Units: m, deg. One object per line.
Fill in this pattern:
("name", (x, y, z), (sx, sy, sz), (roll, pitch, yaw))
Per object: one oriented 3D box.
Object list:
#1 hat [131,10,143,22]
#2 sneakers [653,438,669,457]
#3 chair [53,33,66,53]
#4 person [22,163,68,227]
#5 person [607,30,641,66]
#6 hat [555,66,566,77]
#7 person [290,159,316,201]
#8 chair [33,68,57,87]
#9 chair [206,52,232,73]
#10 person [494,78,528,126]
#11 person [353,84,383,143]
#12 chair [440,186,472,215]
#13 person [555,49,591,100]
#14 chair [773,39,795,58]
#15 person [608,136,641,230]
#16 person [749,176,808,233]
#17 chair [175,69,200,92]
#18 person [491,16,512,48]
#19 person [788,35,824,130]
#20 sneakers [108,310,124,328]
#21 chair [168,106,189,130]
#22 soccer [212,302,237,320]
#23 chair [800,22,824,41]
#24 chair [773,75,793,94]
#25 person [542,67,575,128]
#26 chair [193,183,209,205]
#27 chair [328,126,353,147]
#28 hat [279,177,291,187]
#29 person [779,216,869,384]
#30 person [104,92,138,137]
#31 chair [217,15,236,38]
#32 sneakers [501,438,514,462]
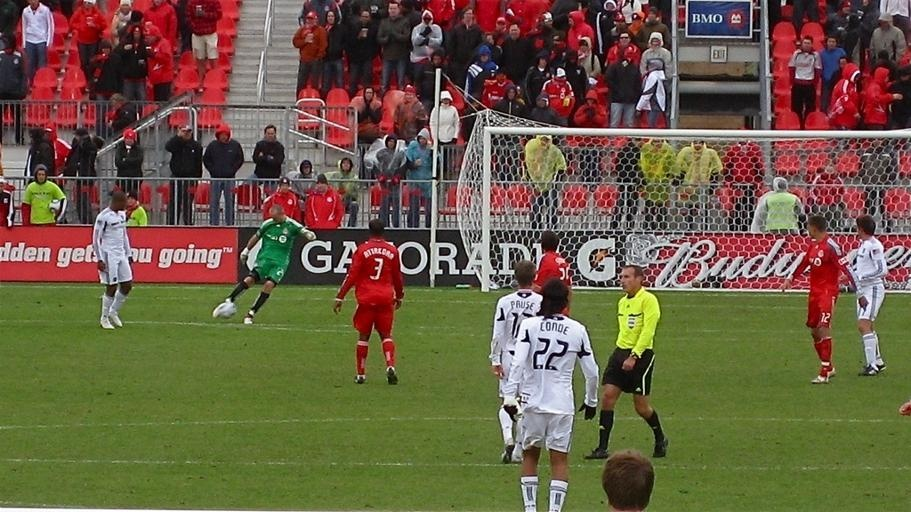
("hat", (-9.936, -7.458, 58.279), (0.319, 0.345, 0.389), (-1, 20, 0))
("sneakers", (4.641, 4.460, 43.737), (0.203, 0.261, 0.544), (-2, 22, 23))
("chair", (-13.105, -7.034, 61.968), (0.525, 0.556, 0.620), (2, 13, -10))
("person", (-12.035, -1.805, 54.881), (1.246, 1.730, 1.140), (-1, 5, -12))
("person", (5.043, -6.293, 57.659), (1.184, 1.091, 0.657), (2, -5, 7))
("hat", (3.058, -5.579, 57.124), (0.297, 0.272, 0.461), (1, 5, 2))
("person", (-4.521, -2.035, 55.547), (0.678, 1.442, 0.750), (-2, -8, -2))
("chair", (-13.280, -5.782, 60.656), (0.645, 0.557, 0.620), (0, 5, -4))
("chair", (-7.722, -6.301, 61.079), (0.761, 0.547, 0.697), (1, 0, -3))
("person", (1.493, -4.407, 56.768), (1.244, 1.757, 0.655), (-1, -17, -1))
("person", (-2.740, -4.302, 57.365), (0.751, 1.673, 0.743), (0, 5, -5))
("chair", (-0.162, -1.729, 55.189), (0.841, 1.086, 0.917), (-1, -6, 4))
("person", (3.448, -5.202, 57.490), (1.057, 2.121, 0.687), (3, -10, -17))
("chair", (10.509, -6.791, 61.093), (0.677, 0.643, 0.788), (1, 1, 1))
("person", (4.861, -2.075, 55.024), (0.858, 2.518, 0.814), (1, 5, 5))
("person", (9.251, -1.444, 54.682), (1.609, 2.513, 0.742), (2, 7, 12))
("chair", (-8.721, -5.675, 60.651), (0.917, 0.707, 0.795), (0, 18, -3))
("person", (1.244, -6.921, 58.198), (0.706, 0.916, 0.331), (2, 35, -5))
("person", (10.734, -5.425, 58.612), (0.935, 2.832, 0.739), (1, 5, 10))
("sneakers", (-8.983, 1.637, 49.747), (0.573, 0.238, 0.195), (29, 28, 22))
("chair", (-8.521, -4.228, 57.408), (0.685, 0.937, 0.787), (1, 6, -6))
("soccer", (-6.271, 1.442, 50.246), (0.581, 0.314, 0.432), (-17, -6, 30))
("chair", (11.407, -7.239, 60.886), (0.766, 0.961, 0.749), (0, 10, 2))
("chair", (10.238, -5.487, 59.957), (0.575, 0.690, 0.582), (1, 2, 1))
("person", (2.986, -4.552, 57.231), (1.049, 2.177, 0.716), (1, 23, 2))
("chair", (-7.526, -1.860, 55.335), (0.609, 0.656, 0.496), (0, 0, 1))
("chair", (-3.575, -3.629, 57.184), (0.617, 0.639, 0.793), (3, 2, -8))
("hat", (-4.859, -2.083, 52.703), (0.281, 0.281, 0.368), (5, -22, -6))
("person", (9.085, 1.053, 47.127), (1.493, 4.155, 0.931), (1, 5, 7))
("person", (-10.300, -4.317, 57.301), (0.989, 1.251, 0.813), (2, 5, 14))
("chair", (-7.622, -7.591, 62.071), (0.721, 0.430, 0.639), (-2, 34, -11))
("sneakers", (1.100, 4.487, 43.431), (0.227, 0.541, 0.270), (9, 15, -15))
